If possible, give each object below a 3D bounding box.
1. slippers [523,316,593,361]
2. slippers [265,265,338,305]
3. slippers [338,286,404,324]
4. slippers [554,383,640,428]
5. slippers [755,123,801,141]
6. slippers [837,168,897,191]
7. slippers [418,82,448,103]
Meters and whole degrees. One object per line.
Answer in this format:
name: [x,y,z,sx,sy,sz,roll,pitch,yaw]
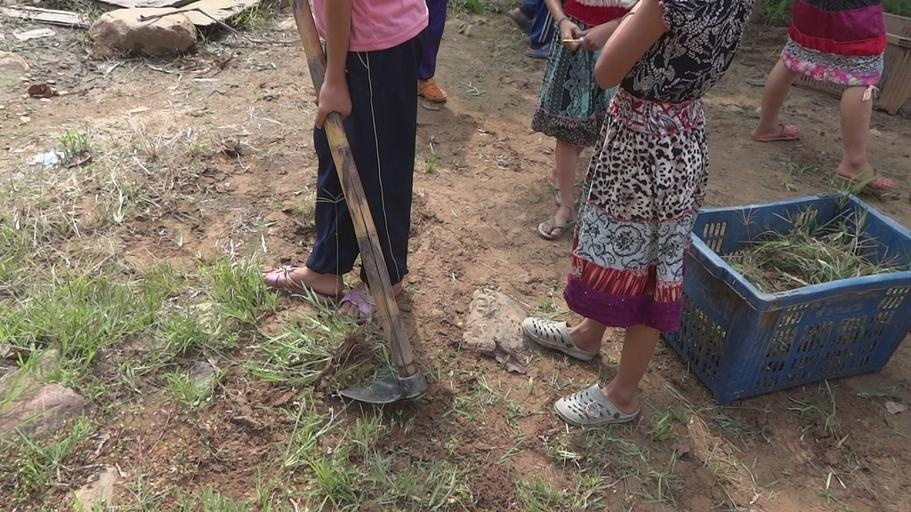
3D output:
slippers: [0.733,0.604,4.953,0.606,0.240,0.229,20,40,5]
slippers: [-1.222,0.223,5.069,0.594,0.160,0.256,19,44,-6]
slippers: [-0.632,0.312,5.037,0.498,0.204,0.235,-25,74,-24]
slippers: [0.958,1.077,4.556,0.596,0.237,0.260,-4,45,1]
slippers: [3.316,-1.283,6.697,0.378,0.126,0.202,0,44,5]
slippers: [3.821,-0.711,6.059,0.491,0.195,0.197,7,44,22]
slippers: [-0.233,-1.796,7.046,0.328,0.148,0.176,25,53,28]
